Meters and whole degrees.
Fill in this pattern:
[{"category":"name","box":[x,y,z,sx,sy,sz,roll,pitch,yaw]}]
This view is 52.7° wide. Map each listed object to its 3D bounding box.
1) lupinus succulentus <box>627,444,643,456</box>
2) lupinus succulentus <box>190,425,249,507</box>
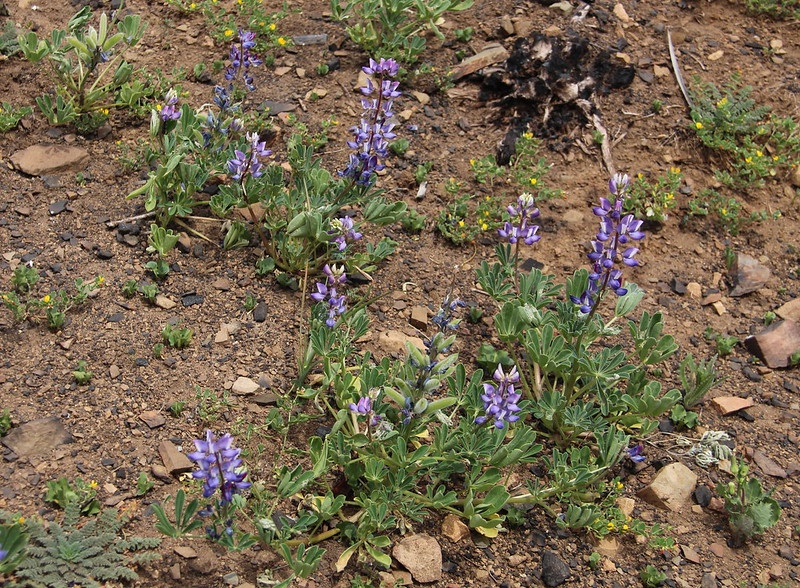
[{"category":"lupinus succulentus","box":[1.463,0.975,5.049,0.080,0.118,0.055,22,65,-11]},{"category":"lupinus succulentus","box":[-0.982,0.950,4.365,0.238,0.392,0.253,-27,67,-15]}]
